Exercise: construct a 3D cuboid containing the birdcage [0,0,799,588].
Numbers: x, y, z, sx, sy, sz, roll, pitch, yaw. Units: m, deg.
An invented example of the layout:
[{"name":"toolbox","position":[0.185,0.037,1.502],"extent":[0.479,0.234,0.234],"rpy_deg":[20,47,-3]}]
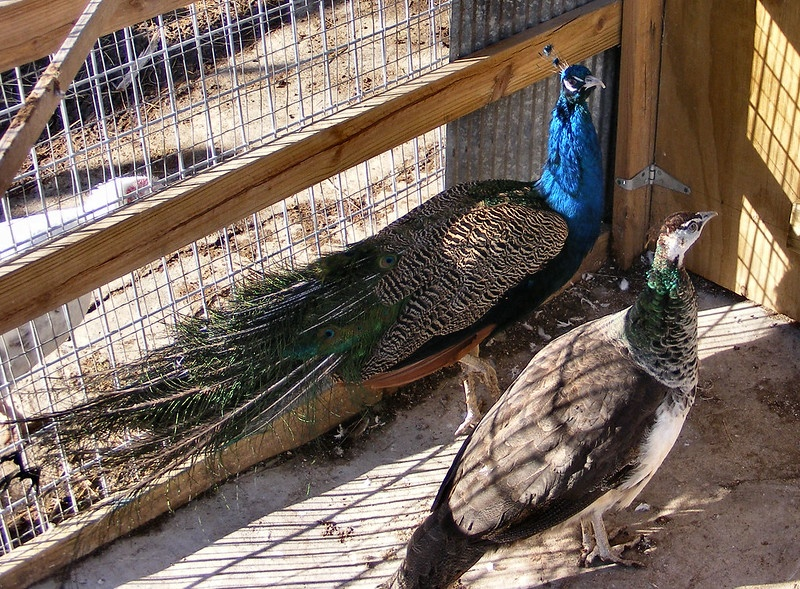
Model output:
[{"name":"birdcage","position":[0.158,0.089,5.724],"extent":[4.667,2.557,1.248],"rpy_deg":[-32,25,-22]}]
